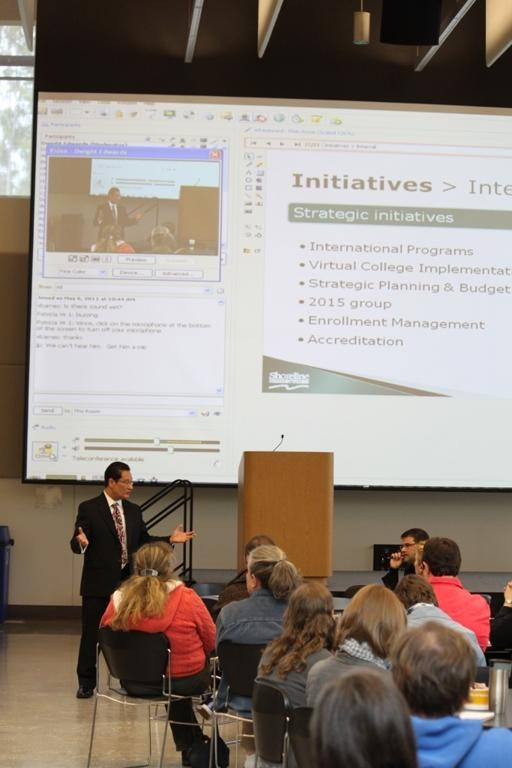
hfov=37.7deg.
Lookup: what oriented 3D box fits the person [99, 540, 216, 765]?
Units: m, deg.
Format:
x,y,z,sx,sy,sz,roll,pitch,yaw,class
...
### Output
x,y,z,sx,sy,sz,roll,pitch,yaw,class
-0.364,1.191,3.225,0.355,1.010,0.587,-4,-10,44,person
